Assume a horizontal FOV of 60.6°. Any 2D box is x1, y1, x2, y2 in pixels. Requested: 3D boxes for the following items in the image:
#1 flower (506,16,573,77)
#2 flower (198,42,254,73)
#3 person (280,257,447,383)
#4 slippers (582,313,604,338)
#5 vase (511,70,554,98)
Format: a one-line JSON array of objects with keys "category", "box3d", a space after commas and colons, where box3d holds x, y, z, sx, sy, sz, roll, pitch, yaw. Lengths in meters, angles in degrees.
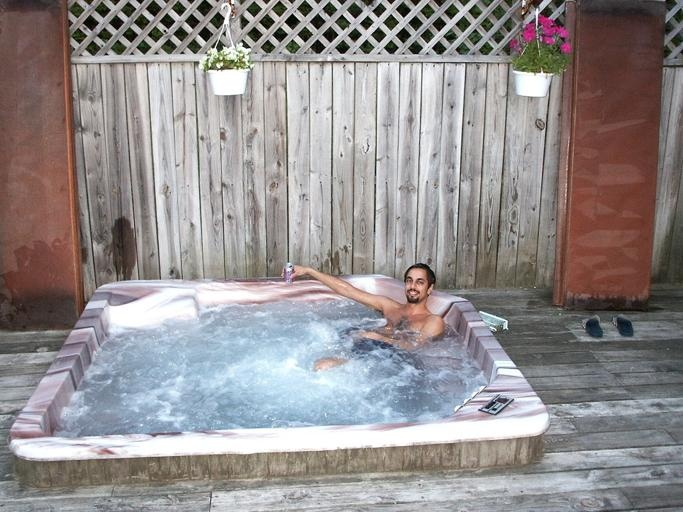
[{"category": "flower", "box3d": [1.406, -1.402, 4.040, 0.357, 0.300, 0.331, -12, 11, 37]}, {"category": "flower", "box3d": [-0.766, -1.305, 3.880, 0.218, 0.130, 0.228, -7, 15, -22]}, {"category": "person", "box3d": [0.193, 0.437, 3.709, 0.882, 0.446, 0.576, -4, 23, -38]}, {"category": "slippers", "box3d": [1.704, 0.464, 3.960, 0.073, 0.059, 0.184, -6, 23, 10]}, {"category": "vase", "box3d": [1.323, -1.193, 4.115, 0.198, 0.123, 0.211, 1, 11, -1]}]
